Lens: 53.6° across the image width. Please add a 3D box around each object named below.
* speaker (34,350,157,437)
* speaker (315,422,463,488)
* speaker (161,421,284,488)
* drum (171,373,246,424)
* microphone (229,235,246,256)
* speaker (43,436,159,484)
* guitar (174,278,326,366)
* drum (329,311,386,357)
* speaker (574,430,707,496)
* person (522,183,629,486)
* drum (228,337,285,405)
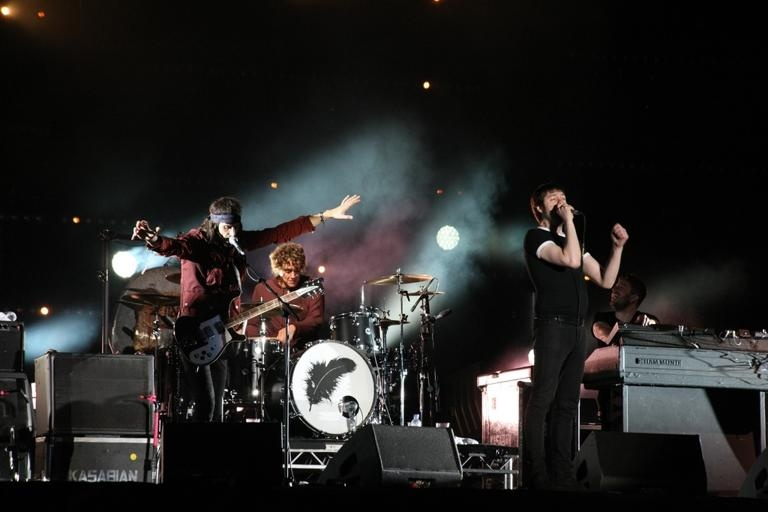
[{"bbox_3d":[-2.609,1.326,7.406,1.055,0.815,0.626,1,-2,2],"label":"speaker"},{"bbox_3d":[0.053,1.613,6.097,0.999,0.474,1.072,-8,-17,37],"label":"speaker"},{"bbox_3d":[-1.228,1.485,6.072,0.857,0.560,0.482,1,12,-12],"label":"speaker"},{"bbox_3d":[-1.771,1.350,7.580,0.635,0.264,0.865,0,-7,-19],"label":"drum"},{"bbox_3d":[-1.494,-0.124,7.507,0.300,0.087,0.083,41,16,32],"label":"microphone"},{"bbox_3d":[-2.599,1.854,7.024,1.004,0.375,0.149,5,-18,-19],"label":"speaker"},{"bbox_3d":[-1.367,0.688,7.583,0.829,0.865,1.229,-12,-21,30],"label":"guitar"},{"bbox_3d":[-0.300,0.873,8.850,0.517,0.397,0.528,-3,-7,0],"label":"drum"},{"bbox_3d":[2.030,1.587,5.893,0.844,0.475,0.140,-2,-17,2],"label":"speaker"},{"bbox_3d":[1.591,0.672,6.558,0.865,2.495,1.141,-4,-18,10],"label":"person"},{"bbox_3d":[-1.348,1.206,8.479,0.736,0.768,0.745,1,-2,-13],"label":"drum"}]
